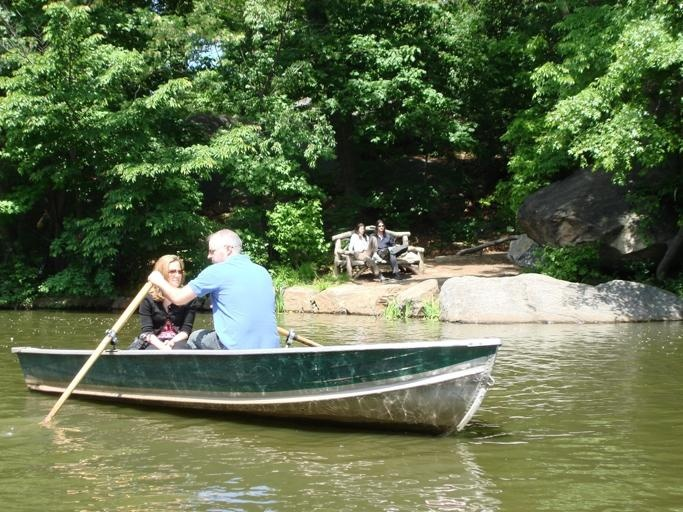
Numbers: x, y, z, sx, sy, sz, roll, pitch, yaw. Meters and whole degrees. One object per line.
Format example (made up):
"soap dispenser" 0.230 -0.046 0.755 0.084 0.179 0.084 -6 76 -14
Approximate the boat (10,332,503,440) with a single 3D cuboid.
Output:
"boat" -1.864 1.776 14.231 9.047 1.285 1.977 -3 -1 25

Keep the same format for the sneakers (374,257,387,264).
"sneakers" 0.942 0.112 25.125 0.235 0.187 0.085 -5 -3 -25

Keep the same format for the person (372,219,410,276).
"person" 1.297 -0.154 25.529 0.860 1.070 1.285 -1 -1 3

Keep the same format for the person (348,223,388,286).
"person" 0.697 -0.126 25.259 0.775 1.059 1.856 -5 20 -15
